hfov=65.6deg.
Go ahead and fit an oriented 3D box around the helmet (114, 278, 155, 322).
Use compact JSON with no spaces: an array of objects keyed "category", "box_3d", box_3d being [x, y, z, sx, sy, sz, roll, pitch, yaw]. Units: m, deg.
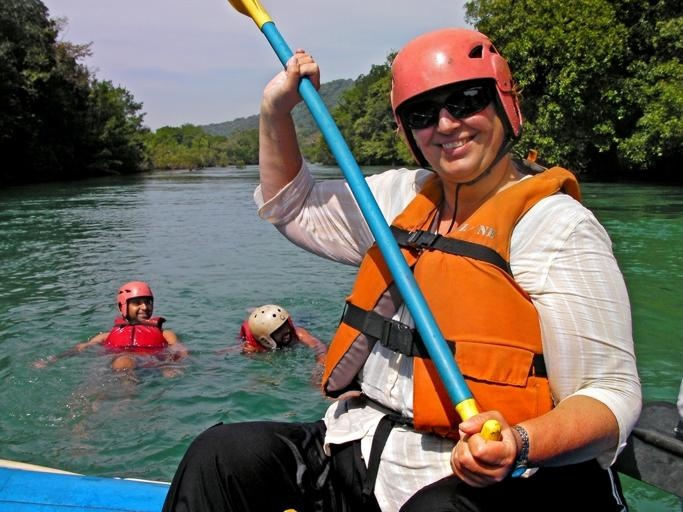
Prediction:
[{"category":"helmet","box_3d":[-2.920,0.573,7.463,0.457,0.526,0.563,7,-16,-42]}]
